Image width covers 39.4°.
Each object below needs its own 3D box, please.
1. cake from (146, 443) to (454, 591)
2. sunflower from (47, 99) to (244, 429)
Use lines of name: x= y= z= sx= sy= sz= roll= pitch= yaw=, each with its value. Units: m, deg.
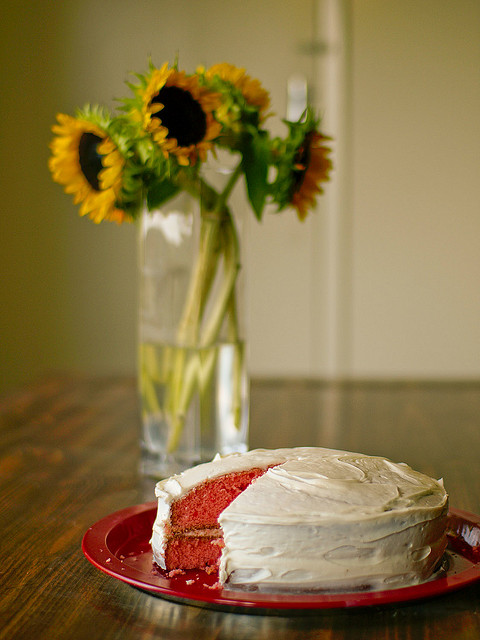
cake: x=0.062 y=0.138 z=0.568 sx=0.157 sy=0.048 sz=0.151 roll=1 pitch=-1 yaw=-12
sunflower: x=-0.107 y=-0.040 z=0.883 sx=0.188 sy=0.463 sz=0.155 roll=-5 pitch=6 yaw=7
